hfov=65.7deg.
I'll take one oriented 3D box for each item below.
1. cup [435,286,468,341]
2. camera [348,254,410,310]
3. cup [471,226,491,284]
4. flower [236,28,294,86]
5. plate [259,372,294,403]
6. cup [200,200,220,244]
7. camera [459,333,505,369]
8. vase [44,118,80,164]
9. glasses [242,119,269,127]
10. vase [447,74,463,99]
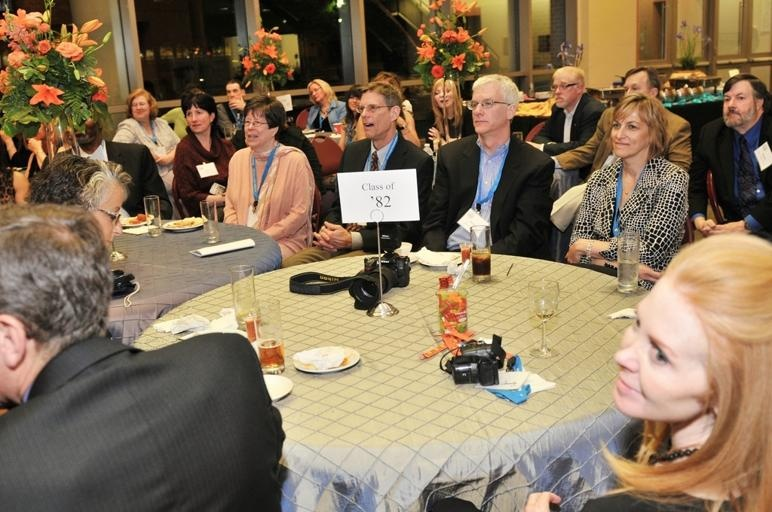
[{"bbox_3d":[0.252,0.183,2.195,0.120,0.193,0.118,-3,24,1],"label":"cup"},{"bbox_3d":[-0.046,0.091,2.553,0.218,0.158,0.308,4,21,25],"label":"camera"},{"bbox_3d":[0.395,-0.001,2.662,0.098,0.246,0.097,0,2,0],"label":"cup"},{"bbox_3d":[-1.580,-2.525,7.977,0.659,0.753,0.613,10,28,25],"label":"flower"},{"bbox_3d":[-0.342,0.406,1.870,0.103,0.021,0.102,10,24,24],"label":"plate"},{"bbox_3d":[-1.036,-0.203,3.524,0.127,0.249,0.126,-4,1,0],"label":"cup"},{"bbox_3d":[0.304,0.291,1.902,0.119,0.085,0.118,-10,12,-41],"label":"camera"},{"bbox_3d":[-2.055,-0.733,3.819,0.203,0.235,0.208,-1,3,22],"label":"vase"},{"bbox_3d":[-0.921,-0.944,4.243,0.096,0.029,0.098,0,4,18],"label":"glasses"},{"bbox_3d":[0.620,-1.628,5.788,0.169,0.232,0.228,-3,11,4],"label":"vase"}]
